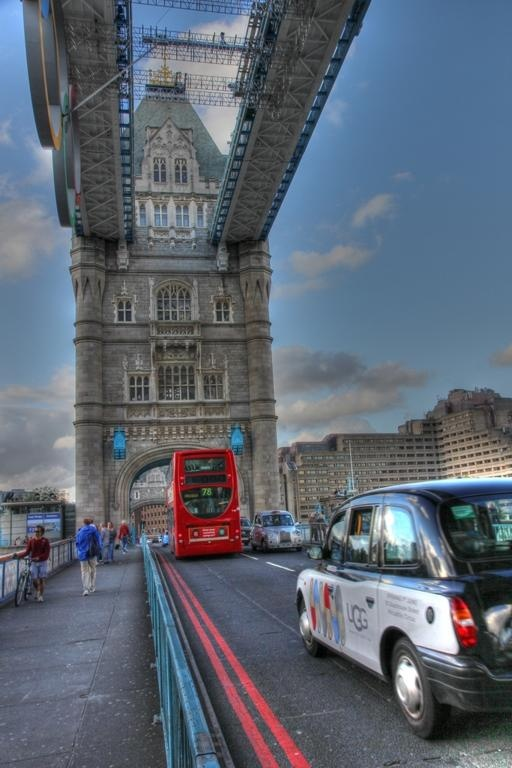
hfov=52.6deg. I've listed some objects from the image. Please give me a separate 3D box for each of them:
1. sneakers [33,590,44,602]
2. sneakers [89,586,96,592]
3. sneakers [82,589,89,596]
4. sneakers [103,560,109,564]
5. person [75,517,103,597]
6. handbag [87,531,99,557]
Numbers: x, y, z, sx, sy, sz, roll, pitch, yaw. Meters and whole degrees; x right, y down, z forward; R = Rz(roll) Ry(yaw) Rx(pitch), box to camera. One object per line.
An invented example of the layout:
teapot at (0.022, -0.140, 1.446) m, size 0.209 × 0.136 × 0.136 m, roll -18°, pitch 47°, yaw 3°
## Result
sneakers at (-5.789, 5.638, 13.770) m, size 0.190 × 0.226 × 0.486 m, roll 5°, pitch -19°, yaw -19°
sneakers at (-4.510, 5.676, 14.324) m, size 0.126 × 0.207 × 0.403 m, roll 1°, pitch -31°, yaw -11°
sneakers at (-4.611, 5.623, 14.014) m, size 0.140 × 0.183 × 0.397 m, roll 4°, pitch -21°, yaw -13°
sneakers at (-7.475, 8.832, 25.751) m, size 0.270 × 0.120 × 0.386 m, roll 5°, pitch -11°, yaw -32°
person at (-4.354, 4.459, 13.604) m, size 0.572 × 1.893 × 0.740 m, roll -9°, pitch -13°, yaw 14°
handbag at (-4.245, 4.204, 13.505) m, size 0.307 × 0.656 × 0.415 m, roll -8°, pitch -10°, yaw -19°
